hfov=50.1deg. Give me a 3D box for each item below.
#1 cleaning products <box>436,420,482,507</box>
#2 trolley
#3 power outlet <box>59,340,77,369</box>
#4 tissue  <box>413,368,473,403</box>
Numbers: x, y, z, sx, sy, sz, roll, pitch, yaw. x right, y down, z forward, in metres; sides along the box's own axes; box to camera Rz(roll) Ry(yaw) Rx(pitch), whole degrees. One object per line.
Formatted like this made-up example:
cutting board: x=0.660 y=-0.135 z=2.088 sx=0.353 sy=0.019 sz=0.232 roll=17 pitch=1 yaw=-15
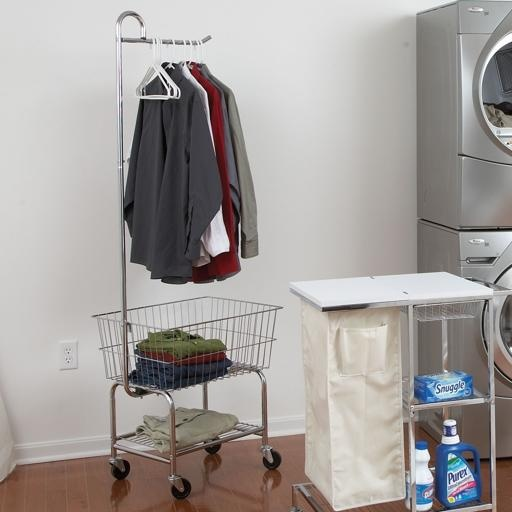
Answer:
cleaning products: x=0.588 y=0.616 z=1.632 sx=0.115 sy=0.290 sz=0.121 roll=-1 pitch=0 yaw=-17
trolley: x=-0.273 y=0.539 z=2.332 sx=0.411 sy=0.839 sz=0.705 roll=-3 pitch=-5 yaw=41
power outlet: x=-0.849 y=0.438 z=2.449 sx=0.099 sy=0.185 sz=0.018 roll=0 pitch=2 yaw=-17
tissue : x=0.536 y=0.373 z=1.596 sx=0.132 sy=0.094 sz=0.063 roll=-6 pitch=12 yaw=-12
